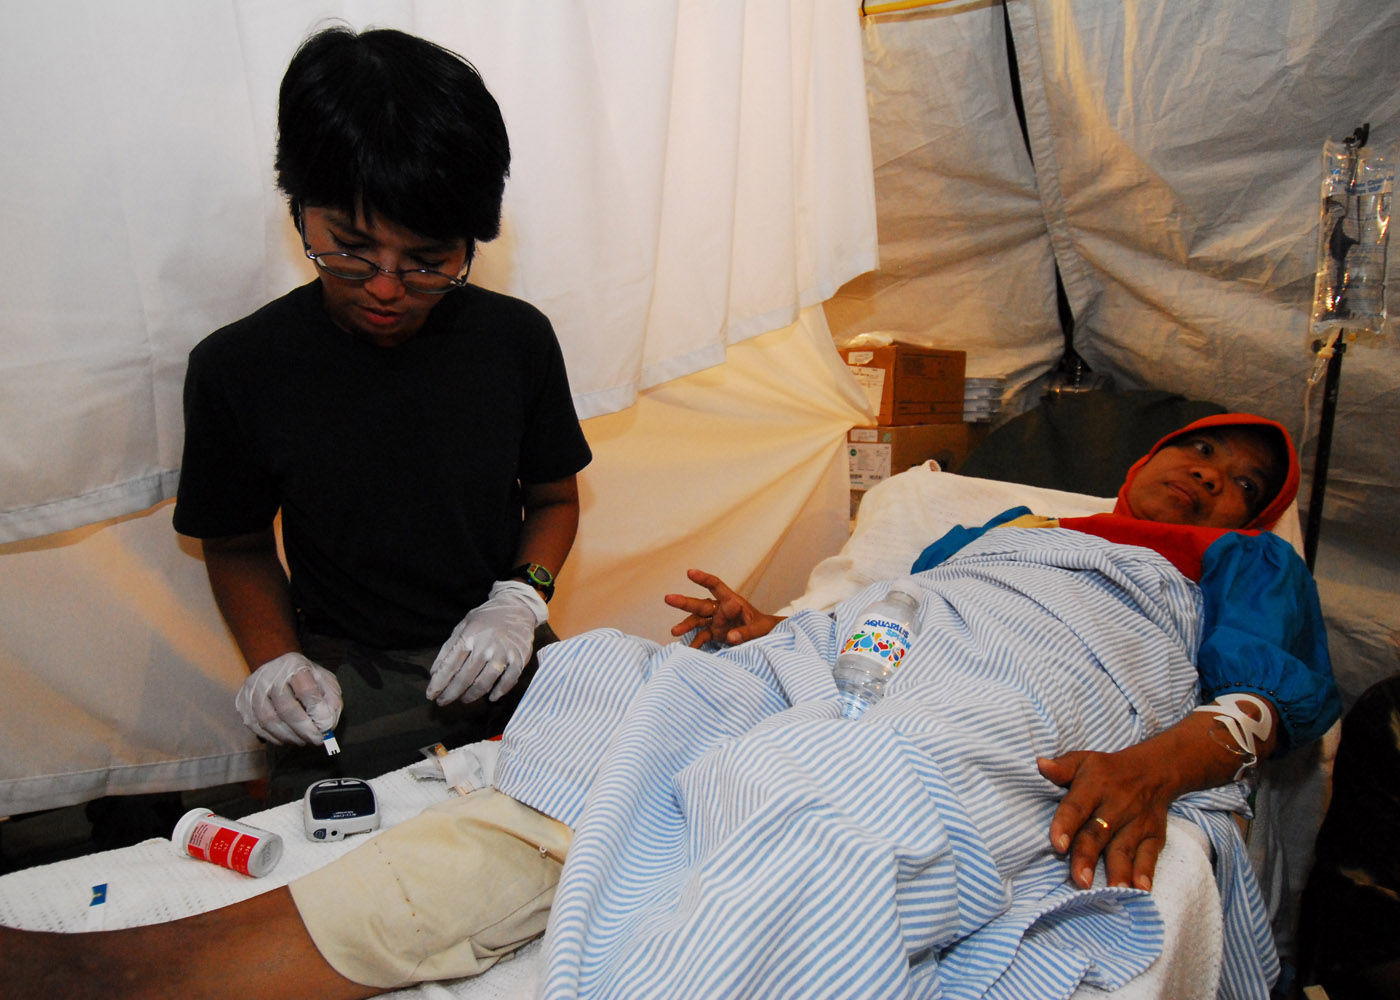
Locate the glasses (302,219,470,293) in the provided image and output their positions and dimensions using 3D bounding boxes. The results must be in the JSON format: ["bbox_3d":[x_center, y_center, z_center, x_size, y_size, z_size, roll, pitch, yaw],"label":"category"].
[{"bbox_3d":[-0.577,-0.457,1.860,0.285,0.155,0.131,-15,26,-18],"label":"glasses"}]

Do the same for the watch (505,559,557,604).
[{"bbox_3d":[-0.357,0.168,2.164,0.084,0.089,0.074,-17,39,19],"label":"watch"}]

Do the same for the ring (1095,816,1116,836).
[{"bbox_3d":[0.673,0.542,1.666,0.020,0.024,0.009,-18,-4,-25],"label":"ring"}]

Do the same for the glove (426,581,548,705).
[{"bbox_3d":[-0.439,0.280,2.038,0.155,0.093,0.306,32,49,3],"label":"glove"}]
